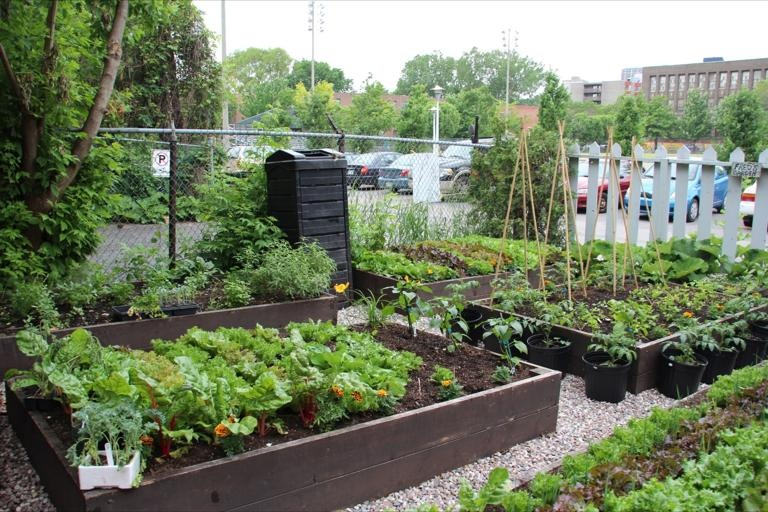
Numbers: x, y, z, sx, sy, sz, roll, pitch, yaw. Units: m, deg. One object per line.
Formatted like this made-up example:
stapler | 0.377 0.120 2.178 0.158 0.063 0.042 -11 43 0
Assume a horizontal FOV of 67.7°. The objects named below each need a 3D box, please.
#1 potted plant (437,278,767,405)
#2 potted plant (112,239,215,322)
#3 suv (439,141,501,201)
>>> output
potted plant | 2.248 0.656 6.250 3.508 0.942 2.433 3 7 24
potted plant | -2.301 0.248 5.989 0.971 0.548 1.398 -2 7 -16
suv | 1.505 -1.828 12.377 2.354 0.976 1.102 -12 16 -43
